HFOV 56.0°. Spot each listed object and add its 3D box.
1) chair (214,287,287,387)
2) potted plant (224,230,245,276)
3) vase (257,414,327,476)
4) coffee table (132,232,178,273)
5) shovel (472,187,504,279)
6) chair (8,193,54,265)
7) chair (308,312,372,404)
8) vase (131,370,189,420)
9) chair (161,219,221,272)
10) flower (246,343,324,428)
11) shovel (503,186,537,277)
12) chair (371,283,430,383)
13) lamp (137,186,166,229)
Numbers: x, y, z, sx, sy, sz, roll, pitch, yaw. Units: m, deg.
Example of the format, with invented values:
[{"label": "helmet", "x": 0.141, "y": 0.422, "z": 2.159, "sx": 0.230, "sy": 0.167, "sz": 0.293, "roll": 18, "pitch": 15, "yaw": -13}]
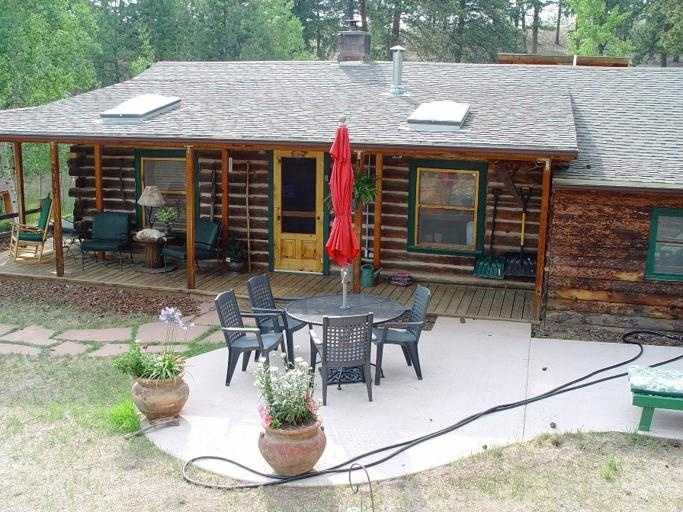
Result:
[{"label": "chair", "x": -1.231, "y": 1.153, "z": 9.094, "sx": 1.066, "sy": 1.113, "sz": 1.022, "roll": -4, "pitch": 12, "yaw": -21}, {"label": "potted plant", "x": -2.309, "y": -0.103, "z": 13.858, "sx": 0.462, "sy": 0.821, "sz": 0.666, "roll": -1, "pitch": 10, "yaw": -10}, {"label": "vase", "x": -0.534, "y": 2.124, "z": 7.107, "sx": 0.634, "sy": 0.412, "sz": 0.650, "roll": 3, "pitch": 9, "yaw": 24}, {"label": "coffee table", "x": -4.066, "y": -0.146, "z": 13.707, "sx": 0.911, "sy": 0.864, "sz": 0.883, "roll": -7, "pitch": 18, "yaw": -32}, {"label": "shovel", "x": 2.983, "y": -0.433, "z": 12.787, "sx": 0.586, "sy": 1.800, "sz": 0.349, "roll": 3, "pitch": 10, "yaw": 12}, {"label": "chair", "x": -6.948, "y": -0.644, "z": 14.311, "sx": 0.911, "sy": 1.440, "sz": 1.349, "roll": -4, "pitch": 11, "yaw": -26}, {"label": "chair", "x": -0.007, "y": 1.394, "z": 8.612, "sx": 0.942, "sy": 1.312, "sz": 0.891, "roll": -3, "pitch": 26, "yaw": -8}, {"label": "vase", "x": -2.254, "y": 1.745, "z": 7.929, "sx": 0.618, "sy": 0.410, "sz": 0.592, "roll": -2, "pitch": 0, "yaw": -1}, {"label": "chair", "x": -3.292, "y": -0.331, "z": 13.724, "sx": 1.116, "sy": 1.158, "sz": 1.307, "roll": -4, "pitch": 8, "yaw": -35}, {"label": "flower", "x": -0.659, "y": 1.528, "z": 7.492, "sx": 1.127, "sy": 1.055, "sz": 0.863, "roll": -1, "pitch": 9, "yaw": -4}, {"label": "shovel", "x": 3.537, "y": -0.473, "z": 12.621, "sx": 0.688, "sy": 1.677, "sz": 0.369, "roll": 6, "pitch": 11, "yaw": 36}, {"label": "chair", "x": 0.767, "y": 1.094, "z": 9.373, "sx": 0.980, "sy": 1.258, "sz": 0.961, "roll": 2, "pitch": 9, "yaw": 1}, {"label": "lamp", "x": -4.177, "y": -1.072, "z": 14.040, "sx": 0.546, "sy": 0.951, "sz": 1.059, "roll": -2, "pitch": 10, "yaw": -17}]
